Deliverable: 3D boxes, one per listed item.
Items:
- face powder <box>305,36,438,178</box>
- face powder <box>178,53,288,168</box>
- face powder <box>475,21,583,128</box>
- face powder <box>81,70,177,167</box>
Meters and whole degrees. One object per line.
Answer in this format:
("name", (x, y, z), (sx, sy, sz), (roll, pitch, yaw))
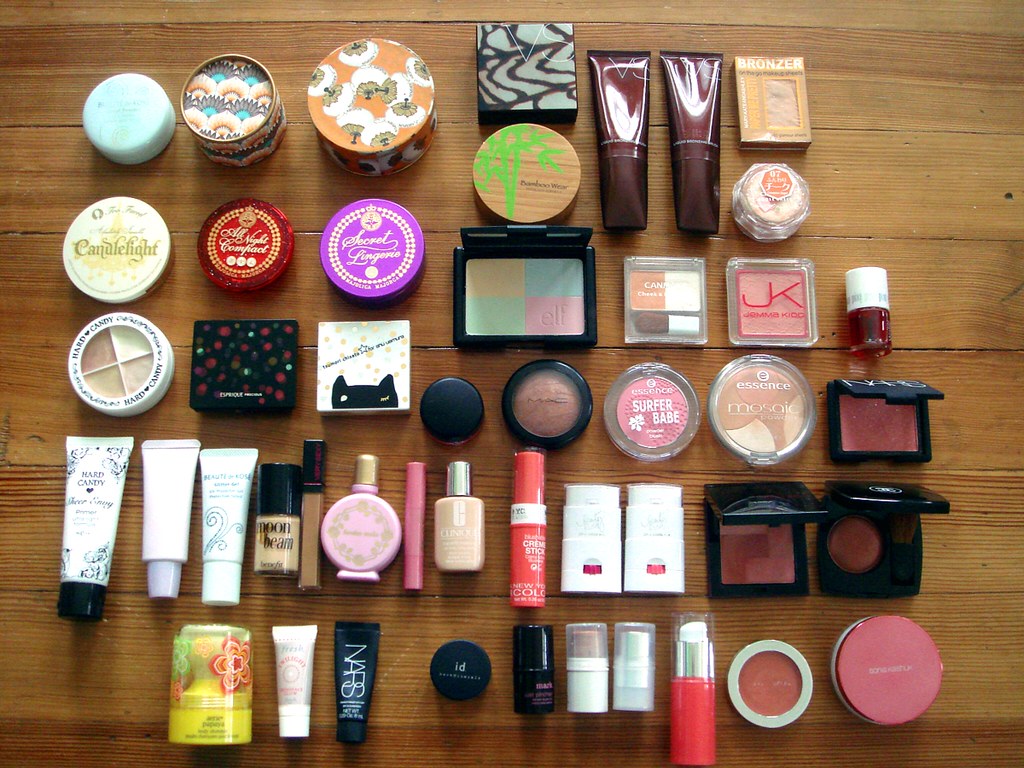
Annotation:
("face powder", (-0.293, -0.611, 2.475), (0.250, 0.188, 0.236), (-5, 65, -9))
("face powder", (-0.582, -0.614, 2.464), (0.190, 0.137, 0.188), (-15, 67, -13))
("face powder", (0.030, -0.704, 2.513), (0.199, 0.113, 0.191), (0, 64, -6))
("face powder", (-0.802, -0.598, 2.503), (0.184, 0.126, 0.154), (-12, 66, -12))
